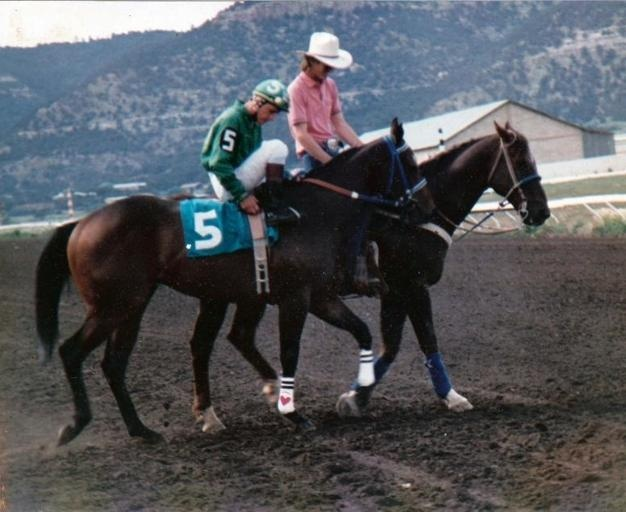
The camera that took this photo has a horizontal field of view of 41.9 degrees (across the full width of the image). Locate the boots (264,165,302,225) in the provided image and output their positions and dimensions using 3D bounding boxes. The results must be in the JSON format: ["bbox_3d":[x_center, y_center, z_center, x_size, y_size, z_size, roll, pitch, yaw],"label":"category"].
[{"bbox_3d":[-0.285,-0.471,6.596,0.354,0.397,0.216,-8,12,-28],"label":"boots"}]

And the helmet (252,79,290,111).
[{"bbox_3d":[-0.338,-1.341,6.583,0.325,0.187,0.244,18,17,13],"label":"helmet"}]

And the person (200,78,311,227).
[{"bbox_3d":[-0.450,-0.894,6.754,0.886,1.067,0.952,7,13,37],"label":"person"}]

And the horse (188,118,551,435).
[{"bbox_3d":[0.434,0.253,7.232,3.758,2.598,0.932,-9,17,-28],"label":"horse"}]
